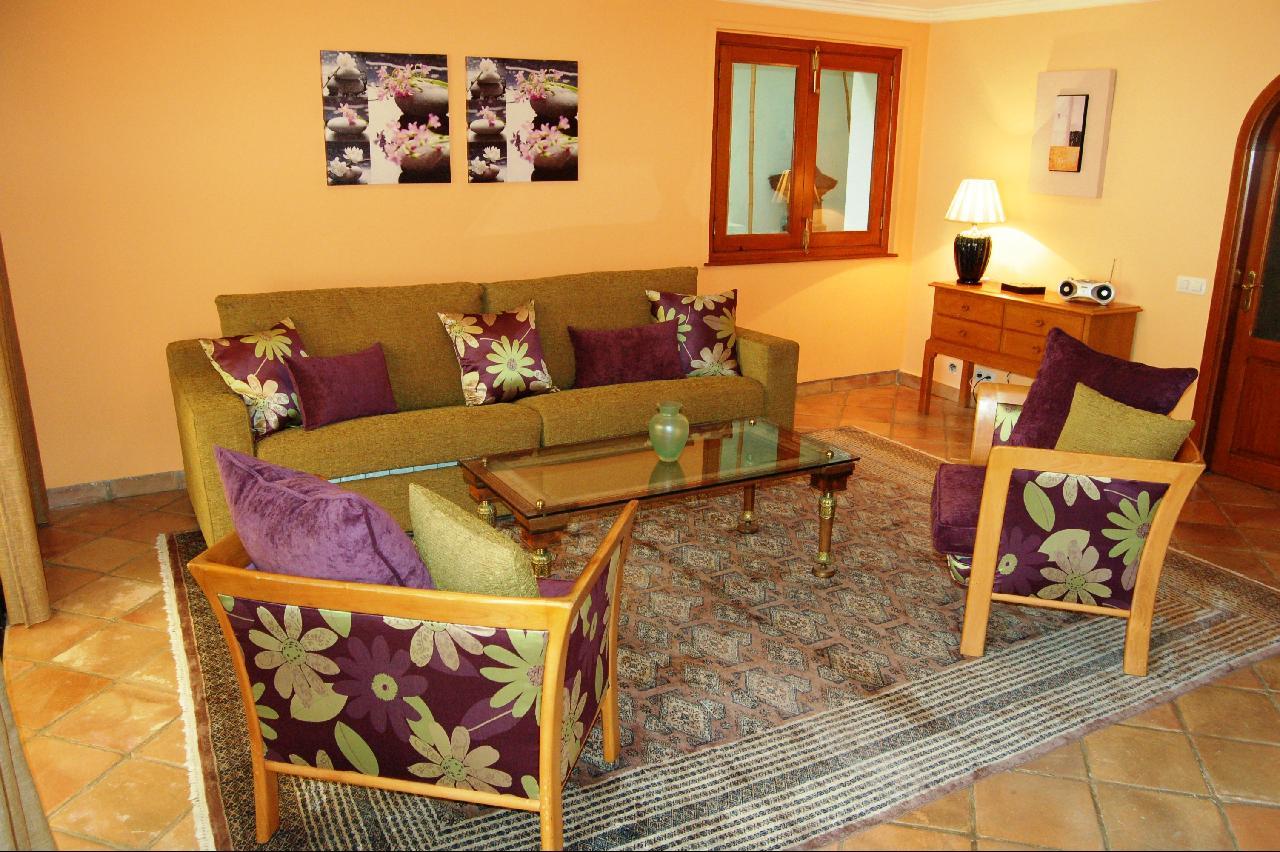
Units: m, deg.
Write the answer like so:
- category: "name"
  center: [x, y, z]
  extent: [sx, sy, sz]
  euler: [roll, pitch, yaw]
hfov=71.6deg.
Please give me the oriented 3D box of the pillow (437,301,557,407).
- category: "pillow"
  center: [-0.820, -0.401, 5.217]
  extent: [0.654, 0.554, 0.190]
  euler: [-14, -7, -32]

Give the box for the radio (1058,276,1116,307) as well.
- category: "radio"
  center: [3.041, -0.911, 6.051]
  extent: [0.332, 0.142, 0.209]
  euler: [13, 22, 35]

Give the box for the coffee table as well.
- category: "coffee table"
  center: [0.226, 0.542, 4.544]
  extent: [1.694, 0.592, 0.874]
  euler: [-9, -3, 7]

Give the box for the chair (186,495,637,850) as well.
- category: "chair"
  center: [-0.632, 0.793, 3.312]
  extent: [1.521, 1.061, 1.063]
  euler: [3, 23, 10]

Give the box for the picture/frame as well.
- category: "picture/frame"
  center: [3.037, -2.046, 6.241]
  extent: [0.171, 0.823, 0.570]
  euler: [-11, 22, -29]

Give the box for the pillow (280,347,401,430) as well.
- category: "pillow"
  center: [-1.651, -0.212, 4.931]
  extent: [0.232, 0.403, 0.622]
  euler: [-31, -3, 28]

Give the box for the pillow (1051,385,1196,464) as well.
- category: "pillow"
  center: [2.125, -0.035, 3.980]
  extent: [0.456, 0.121, 0.454]
  euler: [-6, 31, 37]

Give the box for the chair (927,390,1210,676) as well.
- category: "chair"
  center: [1.867, 0.755, 4.288]
  extent: [1.116, 0.963, 1.233]
  euler: [14, -22, 6]

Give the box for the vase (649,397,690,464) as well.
- category: "vase"
  center: [0.134, 0.034, 4.496]
  extent: [0.244, 0.253, 0.225]
  euler: [2, 14, -2]

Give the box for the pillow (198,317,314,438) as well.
- category: "pillow"
  center: [-2.021, -0.246, 4.752]
  extent: [0.462, 0.542, 0.449]
  euler: [-13, 23, -33]

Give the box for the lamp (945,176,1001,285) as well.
- category: "lamp"
  center: [2.532, -1.464, 6.704]
  extent: [0.396, 0.758, 0.510]
  euler: [8, 20, 20]

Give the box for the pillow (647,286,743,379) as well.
- category: "pillow"
  center: [0.322, -0.602, 5.759]
  extent: [0.713, 0.556, 0.306]
  euler: [-5, 30, -29]
